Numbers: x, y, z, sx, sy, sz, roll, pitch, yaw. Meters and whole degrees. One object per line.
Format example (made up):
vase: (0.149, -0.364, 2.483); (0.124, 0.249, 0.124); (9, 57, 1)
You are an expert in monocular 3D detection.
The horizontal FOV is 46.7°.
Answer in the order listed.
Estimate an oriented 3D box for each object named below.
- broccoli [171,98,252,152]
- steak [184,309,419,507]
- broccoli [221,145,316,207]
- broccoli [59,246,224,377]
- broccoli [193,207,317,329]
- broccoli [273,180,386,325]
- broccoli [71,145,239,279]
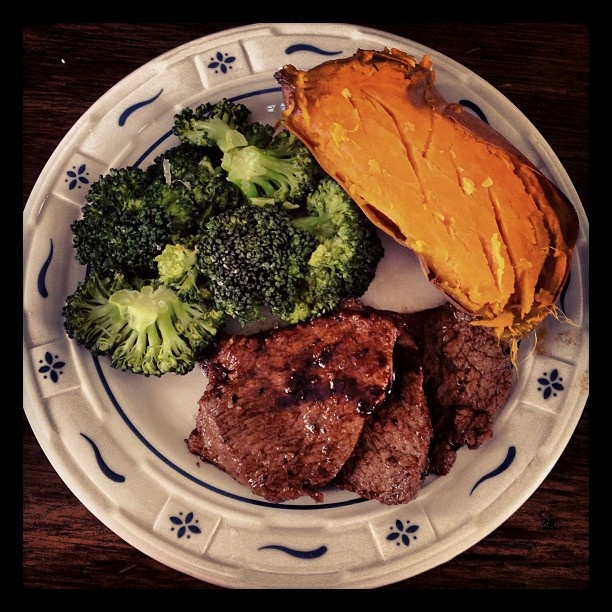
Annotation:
broccoli: (-0.307, -0.596, 2.324); (0.269, 0.162, 0.100); (1, 4, -3)
steak: (-0.041, 0.363, 2.471); (0.718, 0.594, 0.164); (16, -15, 1)
broccoli: (-0.136, -0.416, 2.365); (0.265, 0.191, 0.104); (32, -13, -4)
broccoli: (-0.515, 0.022, 2.356); (0.458, 0.479, 0.177); (35, 20, -12)
broccoli: (-0.162, -0.147, 2.220); (0.415, 0.353, 0.245); (-6, 35, -1)
broccoli: (0.156, -0.176, 2.321); (0.261, 0.435, 0.366); (1, 34, 12)
broccoli: (-0.509, -0.316, 2.329); (0.590, 0.334, 0.195); (-40, -2, -3)
